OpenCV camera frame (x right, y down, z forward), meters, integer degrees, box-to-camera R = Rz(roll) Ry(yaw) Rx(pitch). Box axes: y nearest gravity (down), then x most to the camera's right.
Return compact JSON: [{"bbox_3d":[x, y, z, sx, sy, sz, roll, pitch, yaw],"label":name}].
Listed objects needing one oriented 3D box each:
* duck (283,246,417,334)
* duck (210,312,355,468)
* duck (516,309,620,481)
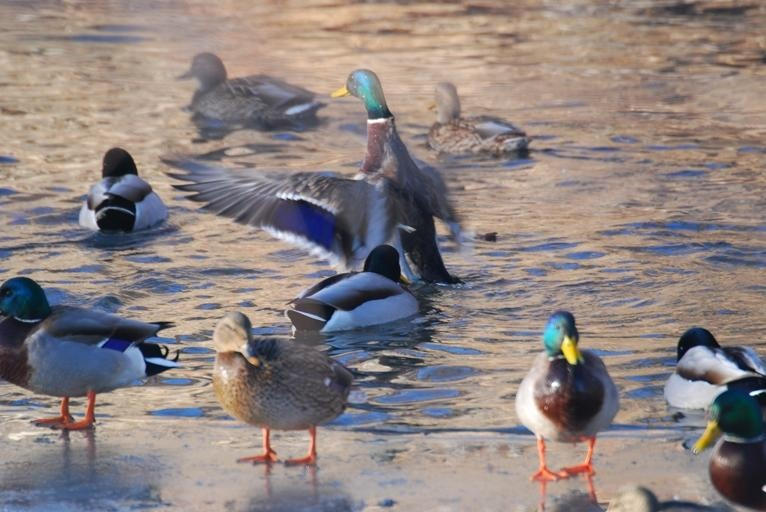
[{"bbox_3d":[-0.443,0.333,13.634,1.293,0.757,2.003,15,17,26],"label":"duck"},{"bbox_3d":[-0.981,1.241,11.129,1.288,1.426,0.451,1,15,-2],"label":"duck"},{"bbox_3d":[1.736,1.302,11.075,0.930,1.521,0.651,-1,15,-9],"label":"duck"}]
